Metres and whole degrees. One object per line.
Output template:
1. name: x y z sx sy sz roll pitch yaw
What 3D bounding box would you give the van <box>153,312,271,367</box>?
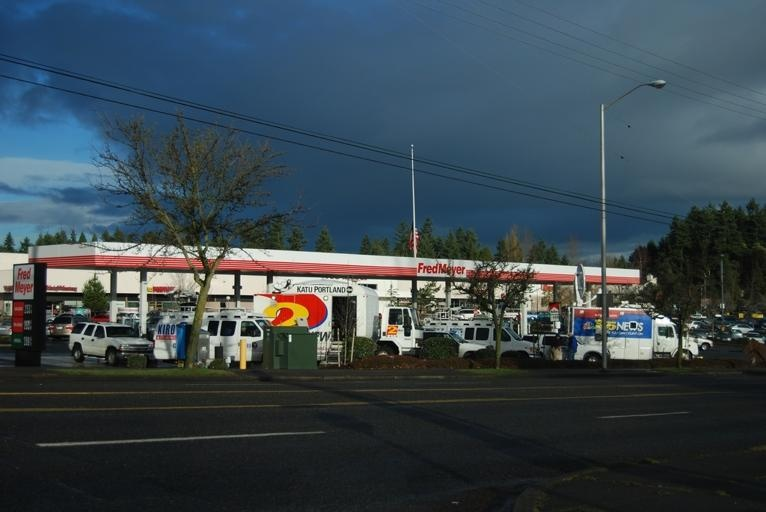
1. van: -7.736 3.990 35.602 4.532 2.318 2.678 -1 -1 -15
